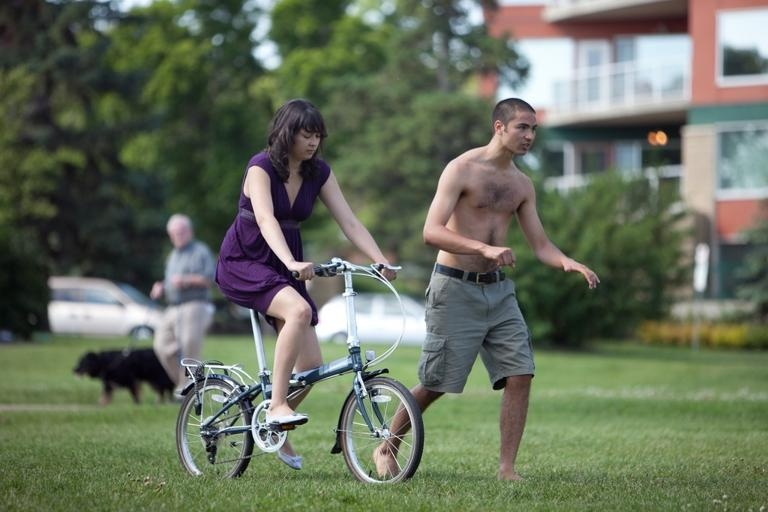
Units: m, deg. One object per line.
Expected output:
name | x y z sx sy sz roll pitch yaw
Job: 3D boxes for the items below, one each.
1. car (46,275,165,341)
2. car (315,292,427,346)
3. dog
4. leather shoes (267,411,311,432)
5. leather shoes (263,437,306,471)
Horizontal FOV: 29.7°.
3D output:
car | -4.330 0.866 22.957 2.602 1.150 1.366 0 1 -5
car | -0.543 1.761 34.421 2.599 1.189 1.435 5 -18 -41
dog | -3.687 1.776 20.985 1.697 0.839 0.415 4 3 -38
leather shoes | -1.051 1.804 15.718 0.497 0.190 0.207 -11 30 26
leather shoes | -1.089 2.237 16.087 0.148 0.383 0.209 -30 12 9
